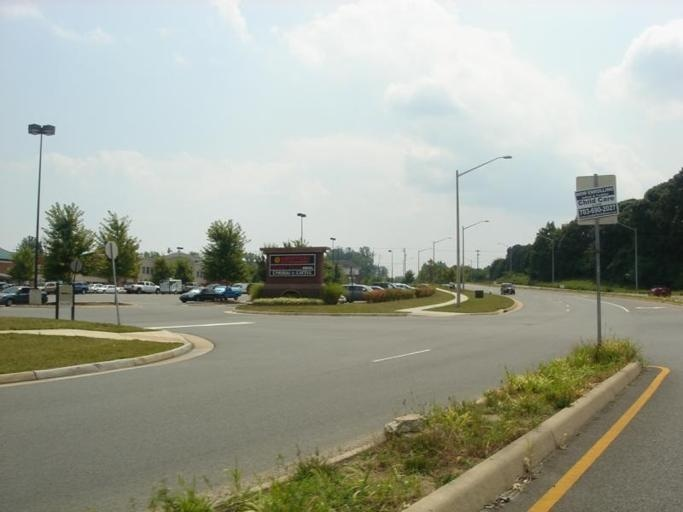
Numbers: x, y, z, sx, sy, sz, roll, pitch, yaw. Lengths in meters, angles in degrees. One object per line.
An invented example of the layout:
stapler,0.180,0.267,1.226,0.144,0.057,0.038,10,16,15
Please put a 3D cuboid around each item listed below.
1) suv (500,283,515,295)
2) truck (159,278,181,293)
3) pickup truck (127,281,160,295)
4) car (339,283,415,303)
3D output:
suv,18.772,3.707,73.594,1.205,1.116,2.108,-1,-7,-3
truck,-18.757,3.328,71.473,1.285,1.404,1.997,1,0,16
pickup truck,-22.107,3.842,72.823,3.653,1.437,1.797,-1,1,-22
car,2.441,2.495,45.419,3.695,1.237,8.310,1,4,13
